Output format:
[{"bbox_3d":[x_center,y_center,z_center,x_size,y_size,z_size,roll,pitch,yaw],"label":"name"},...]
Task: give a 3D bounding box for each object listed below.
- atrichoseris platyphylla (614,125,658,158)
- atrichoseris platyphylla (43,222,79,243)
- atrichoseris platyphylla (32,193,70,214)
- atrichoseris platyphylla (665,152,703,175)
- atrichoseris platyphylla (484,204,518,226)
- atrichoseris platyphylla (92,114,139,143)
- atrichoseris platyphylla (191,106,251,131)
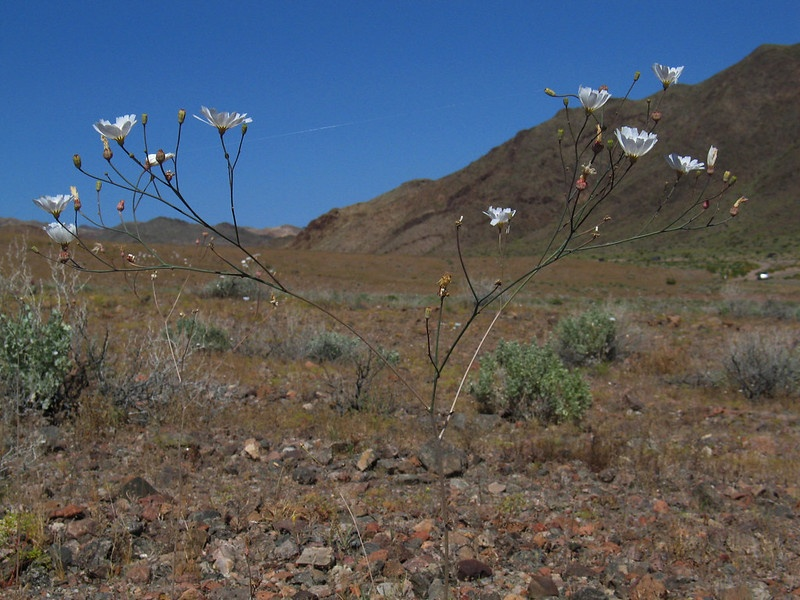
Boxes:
[{"bbox_3d":[2.237,-1.539,8.047,0.303,0.233,0.318,4,12,-19],"label":"atrichoseris platyphylla"},{"bbox_3d":[-3.403,-0.664,8.463,0.301,0.234,0.511,-10,7,-23],"label":"atrichoseris platyphylla"},{"bbox_3d":[-3.358,-0.913,8.157,0.285,0.194,0.662,-10,7,-23],"label":"atrichoseris platyphylla"},{"bbox_3d":[2.799,-1.349,8.308,0.361,0.220,0.576,-3,8,28],"label":"atrichoseris platyphylla"},{"bbox_3d":[0.983,-0.805,8.172,0.209,0.151,0.231,4,6,35],"label":"atrichoseris platyphylla"},{"bbox_3d":[-2.750,-1.631,8.072,0.335,0.236,0.425,-8,7,-8],"label":"atrichoseris platyphylla"},{"bbox_3d":[-1.640,-1.684,7.802,0.362,0.260,0.572,-8,7,-10],"label":"atrichoseris platyphylla"}]
